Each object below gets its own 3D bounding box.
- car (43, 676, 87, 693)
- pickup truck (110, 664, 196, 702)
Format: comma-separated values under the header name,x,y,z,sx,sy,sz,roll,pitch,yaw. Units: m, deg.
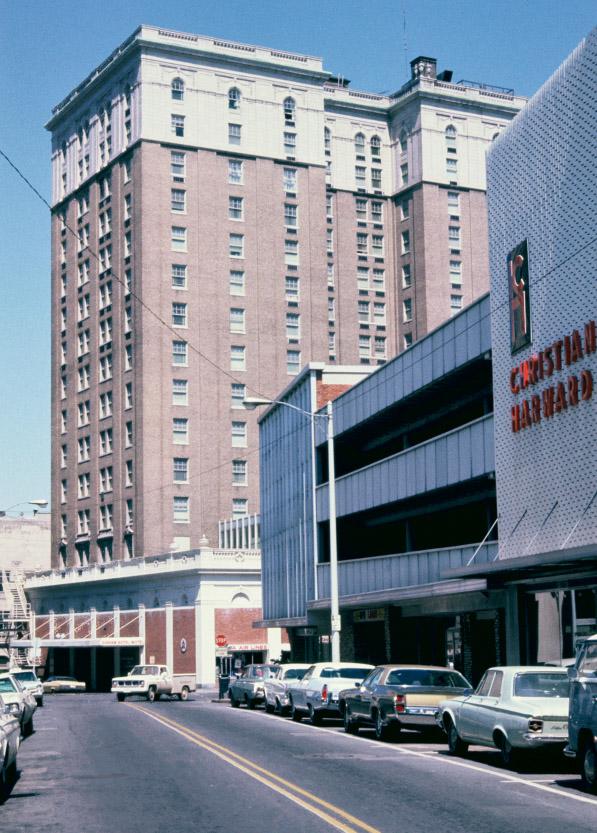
name,x,y,z,sx,sy,sz,roll,pitch,yaw
car,-13.770,15.730,77.467,2.259,1.126,3.326,0,-14,-12
pickup truck,-5.747,11.020,54.368,3.078,1.428,1.806,13,-21,-40
